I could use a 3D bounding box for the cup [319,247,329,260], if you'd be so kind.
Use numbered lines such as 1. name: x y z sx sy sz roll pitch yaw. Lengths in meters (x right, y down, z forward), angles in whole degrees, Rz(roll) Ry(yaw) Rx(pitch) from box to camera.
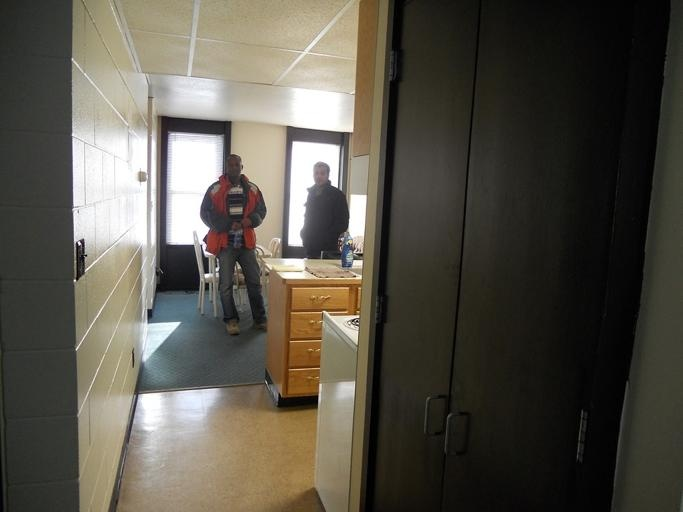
1. cup: -0.157 -0.020 4.816 0.047 0.085 0.082 6 1 -6

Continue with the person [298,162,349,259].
1. person: -0.209 -0.432 5.324 0.526 0.970 0.250 8 11 27

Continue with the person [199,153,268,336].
1. person: -0.990 -0.103 4.912 0.595 1.618 0.428 0 10 -13

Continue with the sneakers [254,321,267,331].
1. sneakers: -0.759 0.660 5.012 0.162 0.078 0.060 -2 3 20

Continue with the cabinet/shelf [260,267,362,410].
1. cabinet/shelf: -0.247 0.536 3.685 0.523 0.880 0.619 -1 11 -32

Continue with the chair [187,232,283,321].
1. chair: -1.255 0.248 6.123 0.937 1.422 0.944 -2 9 -16
